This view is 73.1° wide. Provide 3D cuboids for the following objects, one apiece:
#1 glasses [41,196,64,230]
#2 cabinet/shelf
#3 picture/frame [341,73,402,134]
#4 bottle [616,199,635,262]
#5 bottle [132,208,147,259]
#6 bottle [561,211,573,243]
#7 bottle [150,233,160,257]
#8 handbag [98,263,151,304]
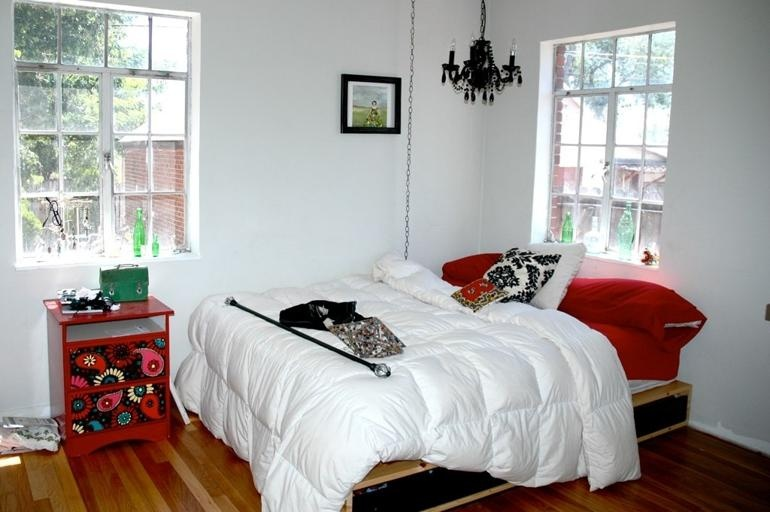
[{"bbox_3d":[-2.693,-0.346,4.204,0.148,0.272,0.050,-9,13,-30],"label":"glasses"},{"bbox_3d":[-2.047,0.835,3.920,0.858,1.044,0.662,-9,13,-31],"label":"cabinet/shelf"},{"bbox_3d":[-0.157,-1.469,4.930,0.618,0.510,0.046,-2,6,-28],"label":"picture/frame"},{"bbox_3d":[2.133,-0.233,4.606,0.133,0.490,0.204,2,12,18],"label":"bottle"},{"bbox_3d":[-2.099,-0.205,4.434,0.122,0.403,0.164,-8,13,-26],"label":"bottle"},{"bbox_3d":[1.757,-0.292,5.007,0.110,0.277,0.255,2,12,19],"label":"bottle"},{"bbox_3d":[-1.983,-0.101,4.491,0.075,0.188,0.174,-7,12,-23],"label":"bottle"},{"bbox_3d":[-1.986,0.199,4.009,0.411,0.350,0.263,-2,3,-35],"label":"handbag"}]
